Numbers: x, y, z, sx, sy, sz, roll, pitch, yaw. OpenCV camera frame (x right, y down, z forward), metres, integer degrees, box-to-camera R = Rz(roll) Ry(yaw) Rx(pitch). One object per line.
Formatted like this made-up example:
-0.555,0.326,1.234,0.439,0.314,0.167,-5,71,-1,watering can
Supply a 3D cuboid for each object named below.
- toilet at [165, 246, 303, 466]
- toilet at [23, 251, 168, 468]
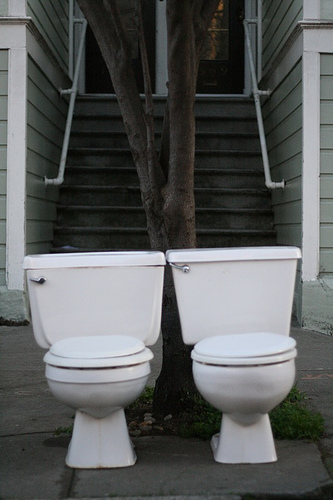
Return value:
0.251,0.359,1.890,0.444,0.721,0.647,-2,3,5,toilet
-0.251,0.369,1.857,0.452,0.703,0.639,-2,-1,-7,toilet
